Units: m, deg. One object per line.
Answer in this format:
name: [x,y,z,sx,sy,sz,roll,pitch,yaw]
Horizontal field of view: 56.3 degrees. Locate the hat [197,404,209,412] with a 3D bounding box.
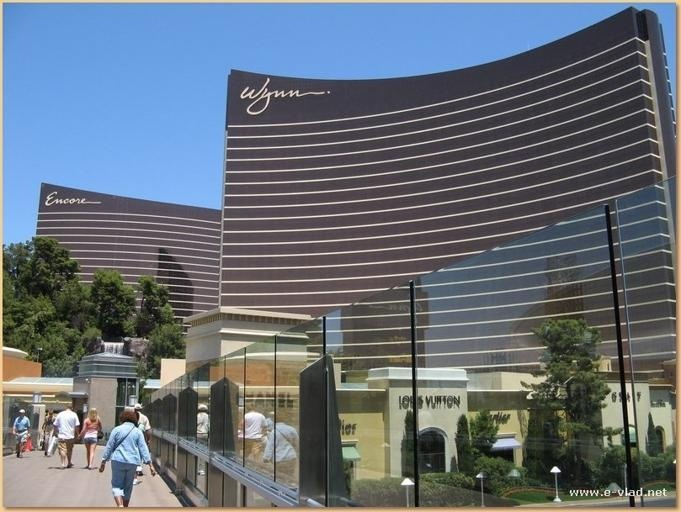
hat: [-3.101,3.425,14.350,0.299,0.132,0.400,2,-6,-8]

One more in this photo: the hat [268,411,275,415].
hat: [-0.977,2.232,9.052,0.072,0.034,0.070,2,-4,-19]

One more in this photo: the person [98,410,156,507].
person: [-3.554,3.347,10.602,0.622,1.588,0.666,-10,-17,35]

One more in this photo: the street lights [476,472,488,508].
street lights: [1.135,1.873,5.150,0.039,0.261,0.097,4,-14,-14]
